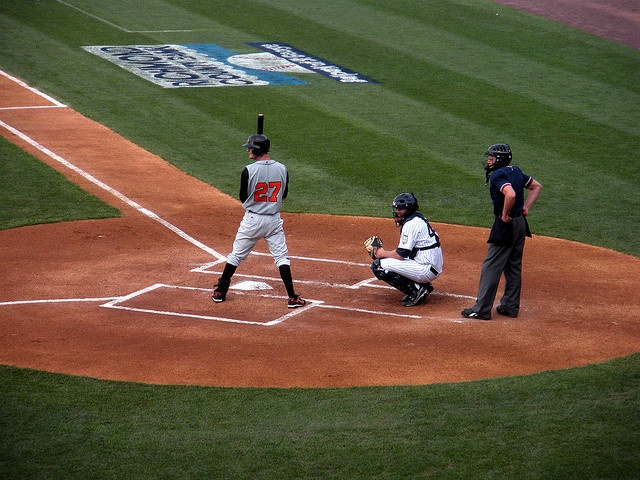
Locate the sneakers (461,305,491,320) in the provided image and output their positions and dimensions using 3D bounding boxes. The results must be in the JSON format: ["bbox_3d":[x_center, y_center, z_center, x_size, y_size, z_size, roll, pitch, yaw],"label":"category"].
[{"bbox_3d":[2.265,1.064,14.777,0.487,0.148,0.169,7,9,7],"label":"sneakers"}]

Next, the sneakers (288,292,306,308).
[{"bbox_3d":[-0.368,0.912,14.939,0.364,0.120,0.136,-9,21,-31],"label":"sneakers"}]

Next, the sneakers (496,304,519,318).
[{"bbox_3d":[2.742,1.042,14.889,0.151,0.119,0.354,-15,24,-43],"label":"sneakers"}]

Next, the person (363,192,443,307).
[{"bbox_3d":[1.312,0.139,15.186,1.083,1.700,0.501,8,9,5],"label":"person"}]

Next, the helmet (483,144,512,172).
[{"bbox_3d":[2.616,-1.242,14.787,0.554,0.333,0.384,7,14,9],"label":"helmet"}]

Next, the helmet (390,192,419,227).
[{"bbox_3d":[1.276,-0.501,15.194,0.534,0.356,0.377,-9,9,13],"label":"helmet"}]

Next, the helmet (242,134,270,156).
[{"bbox_3d":[-0.959,-1.424,15.063,0.334,0.312,0.259,6,8,-5],"label":"helmet"}]
